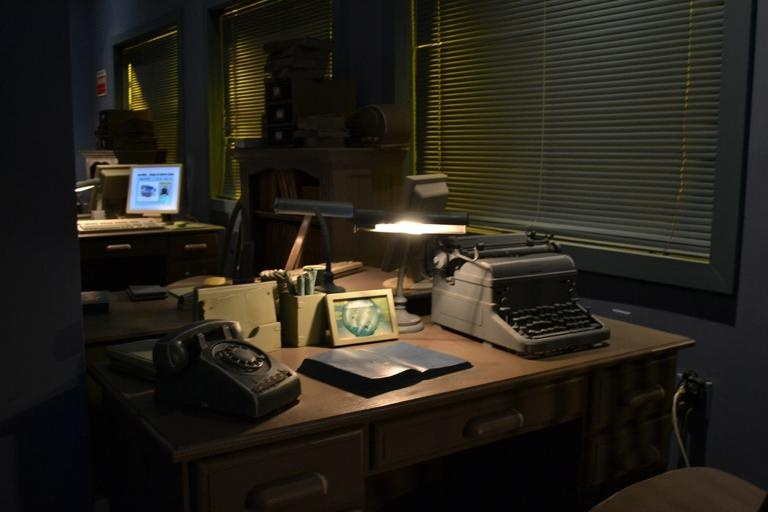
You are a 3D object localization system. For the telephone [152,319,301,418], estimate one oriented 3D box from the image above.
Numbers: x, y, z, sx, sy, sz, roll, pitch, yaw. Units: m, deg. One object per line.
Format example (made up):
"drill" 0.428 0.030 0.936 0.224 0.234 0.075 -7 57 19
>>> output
"telephone" -0.502 0.349 1.886 0.421 0.232 0.341 9 9 25

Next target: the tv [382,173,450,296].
"tv" 0.158 -0.037 2.785 0.142 0.338 0.219 21 36 28

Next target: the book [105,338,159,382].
"book" -0.888 0.359 2.058 0.180 0.043 0.180 9 8 35

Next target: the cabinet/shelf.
"cabinet/shelf" -0.481 -0.238 4.179 1.060 0.989 0.671 6 10 42

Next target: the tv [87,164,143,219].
"tv" -2.619 -0.597 5.627 0.572 0.674 0.490 -2 6 -33

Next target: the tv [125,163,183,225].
"tv" -2.150 -0.585 5.383 0.636 0.521 0.232 0 3 6

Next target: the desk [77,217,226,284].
"desk" -2.078 -0.252 5.033 1.209 0.787 0.603 -4 9 -33
